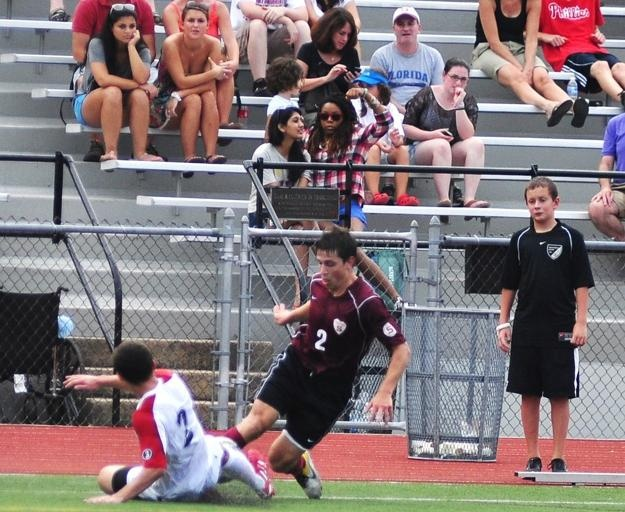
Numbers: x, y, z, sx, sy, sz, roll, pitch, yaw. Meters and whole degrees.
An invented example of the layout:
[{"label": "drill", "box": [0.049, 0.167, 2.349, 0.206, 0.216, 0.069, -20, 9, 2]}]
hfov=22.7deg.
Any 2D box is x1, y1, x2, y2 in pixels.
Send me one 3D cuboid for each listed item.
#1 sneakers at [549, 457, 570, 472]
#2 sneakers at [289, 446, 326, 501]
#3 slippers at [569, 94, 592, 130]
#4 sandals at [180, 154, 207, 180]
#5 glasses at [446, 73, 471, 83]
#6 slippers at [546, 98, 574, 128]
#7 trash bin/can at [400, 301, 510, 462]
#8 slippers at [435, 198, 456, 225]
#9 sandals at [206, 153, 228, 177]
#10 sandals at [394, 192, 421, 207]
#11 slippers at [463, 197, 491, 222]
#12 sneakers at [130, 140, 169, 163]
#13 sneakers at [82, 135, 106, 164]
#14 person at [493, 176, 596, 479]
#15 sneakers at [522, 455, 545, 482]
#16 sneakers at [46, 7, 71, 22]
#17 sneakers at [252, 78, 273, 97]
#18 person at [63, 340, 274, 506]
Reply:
[{"label": "sneakers", "box": [1.967, 1.674, 12.499, 0.100, 0.104, 0.240, -1, -12, 5]}, {"label": "sneakers", "box": [-0.014, 1.647, 11.727, 0.133, 0.409, 0.182, -31, -5, 21]}, {"label": "slippers", "box": [2.772, -1.475, 16.209, 0.155, 0.320, 0.124, 8, 22, 11]}, {"label": "sandals", "box": [-1.175, -0.915, 15.745, 0.224, 0.231, 0.640, 2, -3, -5]}, {"label": "glasses", "box": [1.425, -1.773, 15.487, 0.227, 0.127, 0.153, 2, -3, 3]}, {"label": "slippers", "box": [2.561, -1.481, 16.226, 0.163, 0.105, 0.315, 1, -42, -36]}, {"label": "trash bin/can", "box": [1.252, 1.125, 13.533, 1.072, 1.397, 1.113, 0, -5, 25]}, {"label": "slippers", "box": [1.320, -0.433, 15.480, 0.146, 0.219, 0.526, 2, -3, 4]}, {"label": "sandals", "box": [-0.947, -0.915, 15.575, 0.189, 0.184, 0.215, 2, -3, -5]}, {"label": "sandals", "box": [0.923, -0.533, 15.209, 0.214, 0.137, 0.247, 2, -3, 1]}, {"label": "slippers", "box": [1.636, -0.456, 15.602, 0.254, 0.209, 0.592, 2, -3, 7]}, {"label": "sneakers", "box": [-1.600, -1.043, 16.043, 0.170, 0.241, 0.554, -26, 9, -18]}, {"label": "sneakers", "box": [-2.193, -1.053, 15.801, 0.122, 0.159, 0.373, 4, 17, -3]}, {"label": "person", "box": [1.857, 0.545, 12.507, 0.739, 2.317, 0.344, 2, -3, 7]}, {"label": "sneakers", "box": [1.752, 1.698, 12.405, 0.181, 0.220, 0.502, 0, -1, 4]}, {"label": "sneakers", "box": [-2.736, -2.624, 17.124, 0.281, 0.132, 0.108, 1, 1, -21]}, {"label": "sneakers", "box": [-0.492, -1.729, 16.123, 0.202, 0.257, 0.148, 16, 25, 37]}, {"label": "person", "box": [-1.069, 1.026, 11.512, 1.282, 1.420, 0.915, -5, 27, -5]}]
